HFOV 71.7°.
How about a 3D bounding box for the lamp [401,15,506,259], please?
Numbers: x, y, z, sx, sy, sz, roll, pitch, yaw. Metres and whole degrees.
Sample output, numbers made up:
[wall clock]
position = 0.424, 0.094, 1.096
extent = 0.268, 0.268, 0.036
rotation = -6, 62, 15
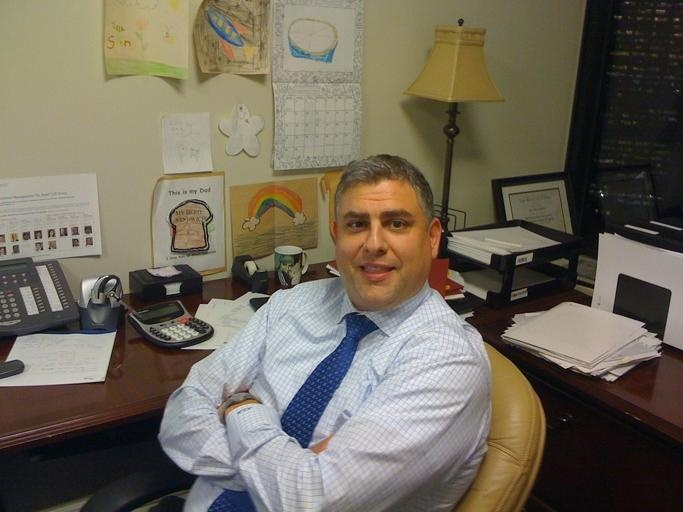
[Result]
[lamp]
position = 0.447, -0.354, 2.049
extent = 0.295, 1.171, 0.309
rotation = -7, 18, -25

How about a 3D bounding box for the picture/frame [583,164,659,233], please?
[picture/frame]
position = 1.336, -0.286, 2.241
extent = 0.090, 0.386, 0.389
rotation = -3, 5, -31

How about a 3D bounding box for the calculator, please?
[calculator]
position = -0.538, 0.218, 1.491
extent = 0.258, 0.070, 0.190
rotation = 15, 17, 36

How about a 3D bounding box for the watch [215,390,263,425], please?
[watch]
position = -0.264, 0.372, 1.178
extent = 0.070, 0.041, 0.089
rotation = -16, -14, -6
